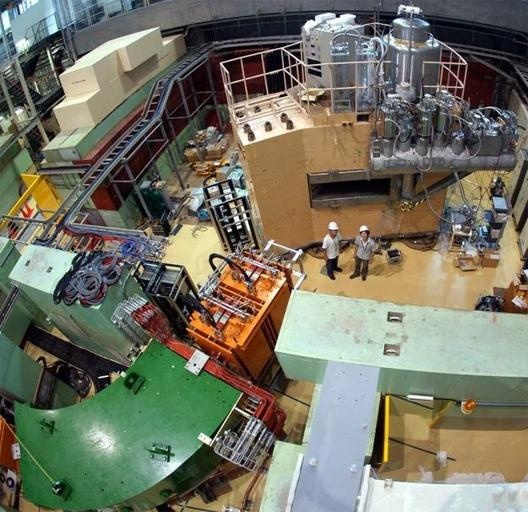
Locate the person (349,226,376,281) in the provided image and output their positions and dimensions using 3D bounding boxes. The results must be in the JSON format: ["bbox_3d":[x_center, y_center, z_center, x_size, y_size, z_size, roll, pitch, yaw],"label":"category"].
[{"bbox_3d":[2.554,-0.127,10.242,0.639,1.649,0.589,-2,42,10],"label":"person"}]

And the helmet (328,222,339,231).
[{"bbox_3d":[1.675,-0.721,9.577,0.180,0.229,0.244,-9,41,3],"label":"helmet"}]

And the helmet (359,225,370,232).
[{"bbox_3d":[2.491,-0.661,9.760,0.206,0.136,0.266,-4,4,7],"label":"helmet"}]

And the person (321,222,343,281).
[{"bbox_3d":[1.783,-0.196,10.252,0.447,1.918,0.585,-2,42,11],"label":"person"}]
